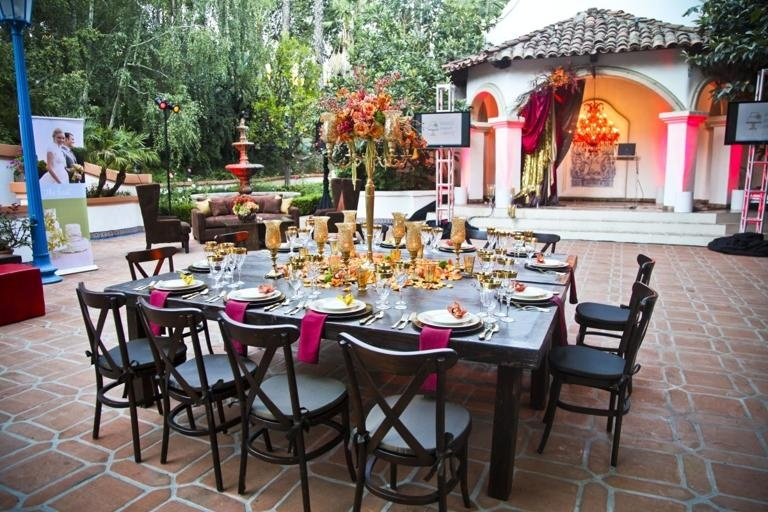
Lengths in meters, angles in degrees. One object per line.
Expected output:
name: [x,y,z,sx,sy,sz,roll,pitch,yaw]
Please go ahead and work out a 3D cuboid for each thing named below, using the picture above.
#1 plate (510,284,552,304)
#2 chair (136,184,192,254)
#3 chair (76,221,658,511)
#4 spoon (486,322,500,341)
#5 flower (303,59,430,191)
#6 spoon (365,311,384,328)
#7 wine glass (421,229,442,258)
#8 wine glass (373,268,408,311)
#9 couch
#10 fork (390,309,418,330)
plate: [1.091,0.292,3.699,0.196,0.029,0.196,-3,17,3]
chair: [-4.374,-0.800,10.021,1.057,1.254,1.011,1,12,-13]
chair: [-0.078,0.785,4.167,3.916,1.293,2.027,4,12,27]
spoon: [0.708,0.489,3.254,0.046,0.031,0.235,10,17,15]
flower: [-0.117,-1.162,4.439,0.785,0.854,0.760,2,10,-2]
spoon: [-0.061,0.435,3.431,0.043,0.029,0.207,7,15,14]
wine glass: [0.479,-0.159,5.059,0.270,0.391,0.232,1,8,6]
wine glass: [0.061,0.217,3.680,0.258,0.284,0.289,-2,7,-14]
couch: [-3.087,-0.619,11.438,2.311,1.136,1.226,-1,-8,-24]
fork: [0.137,0.424,3.393,0.066,0.023,0.252,10,16,12]
